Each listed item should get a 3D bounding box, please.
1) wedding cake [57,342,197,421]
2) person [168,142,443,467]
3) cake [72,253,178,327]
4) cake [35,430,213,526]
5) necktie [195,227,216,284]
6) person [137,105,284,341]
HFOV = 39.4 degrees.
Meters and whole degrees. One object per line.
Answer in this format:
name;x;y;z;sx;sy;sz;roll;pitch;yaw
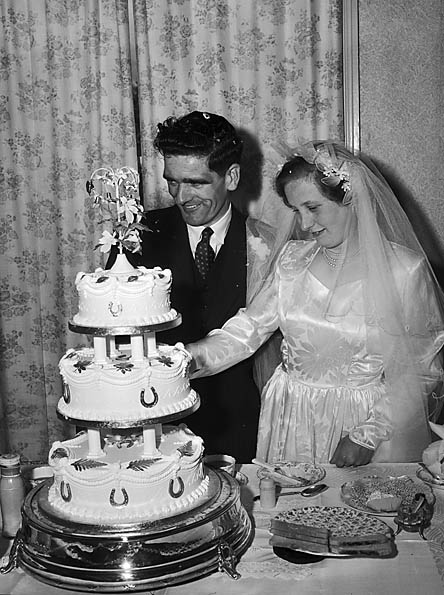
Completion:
wedding cake;-0.239;0.228;1.645;0.375;0.163;0.300;0;8;-18
person;0.430;0.071;2.581;0.886;1.408;0.635;8;11;31
cake;-0.258;-0.006;1.645;0.255;0.129;0.233;-2;7;10
cake;-0.252;0.479;1.721;0.450;0.116;0.433;-3;-1;9
necktie;-0.082;-0.205;2.970;0.098;0.264;0.062;3;10;-2
person;-0.045;-0.432;3.033;1.060;0.866;0.525;13;32;28
